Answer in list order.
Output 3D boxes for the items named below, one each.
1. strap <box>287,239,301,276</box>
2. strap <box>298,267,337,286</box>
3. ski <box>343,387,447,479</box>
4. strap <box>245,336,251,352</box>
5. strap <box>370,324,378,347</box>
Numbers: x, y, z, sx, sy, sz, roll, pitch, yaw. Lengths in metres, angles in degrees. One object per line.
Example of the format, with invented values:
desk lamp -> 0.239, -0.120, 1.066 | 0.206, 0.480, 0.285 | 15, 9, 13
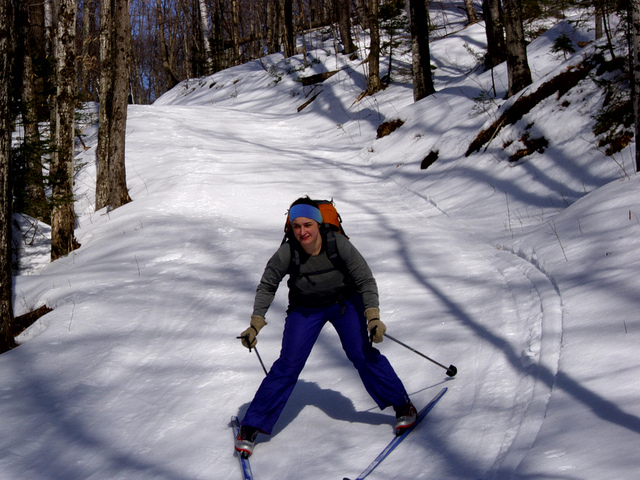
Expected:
strap -> -0.297, 0.223, 8.124 | 0.082, 0.302, 0.232 | 3, 1, -22
strap -> -0.070, 0.413, 8.129 | 0.291, 0.064, 0.278 | -20, -3, 36
ski -> 0.923, 2.359, 8.152 | 1.450, 0.120, 0.163 | -42, 4, -32
strap -> -0.853, 1.222, 8.078 | 0.079, 0.110, 0.035 | 7, 1, -9
strap -> 0.639, 1.084, 8.033 | 0.041, 0.157, 0.155 | 12, 31, 12
